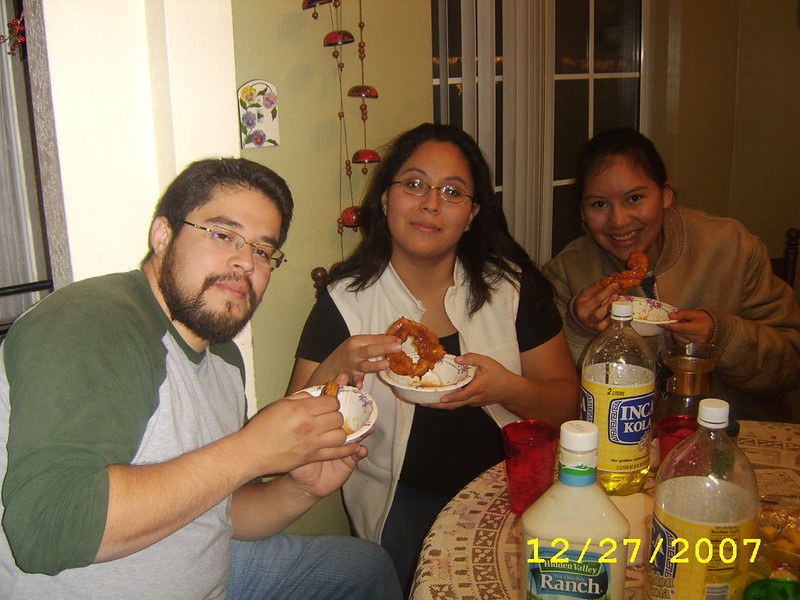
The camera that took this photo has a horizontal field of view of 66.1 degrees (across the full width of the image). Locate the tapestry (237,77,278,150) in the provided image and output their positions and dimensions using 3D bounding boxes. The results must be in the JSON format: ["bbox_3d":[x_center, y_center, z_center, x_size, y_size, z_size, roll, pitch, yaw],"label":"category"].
[{"bbox_3d":[-0.659,-0.850,2.791,0.027,0.385,0.280,16,25,42],"label":"tapestry"}]

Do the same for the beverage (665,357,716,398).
[{"bbox_3d":[0.874,0.220,1.868,0.128,0.114,0.113,2,8,41],"label":"beverage"}]

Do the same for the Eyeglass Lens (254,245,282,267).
[{"bbox_3d":[-0.423,-0.142,1.951,0.081,0.028,0.069,45,26,23],"label":"Eyeglass Lens"}]

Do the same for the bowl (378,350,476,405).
[{"bbox_3d":[0.108,0.297,2.180,0.281,0.090,0.291,-6,12,1],"label":"bowl"}]
